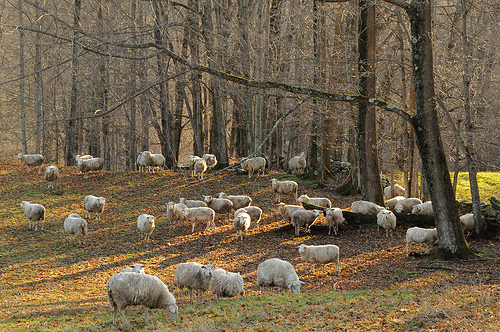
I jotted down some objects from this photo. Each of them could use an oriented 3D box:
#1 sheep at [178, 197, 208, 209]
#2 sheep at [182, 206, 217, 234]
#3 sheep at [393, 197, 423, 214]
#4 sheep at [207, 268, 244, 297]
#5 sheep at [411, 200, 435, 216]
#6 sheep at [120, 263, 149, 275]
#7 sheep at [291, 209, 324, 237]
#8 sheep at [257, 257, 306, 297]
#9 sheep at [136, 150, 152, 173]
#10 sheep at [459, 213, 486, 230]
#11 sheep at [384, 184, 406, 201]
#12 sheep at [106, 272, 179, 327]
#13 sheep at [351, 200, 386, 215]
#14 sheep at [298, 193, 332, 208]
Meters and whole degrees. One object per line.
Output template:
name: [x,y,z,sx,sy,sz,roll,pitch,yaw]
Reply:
sheep: [-3.855,2.663,61.379,1.772,1.026,0.723,6,-2,11]
sheep: [-3.282,3.811,59.819,1.980,1.967,1.593,2,3,11]
sheep: [10.629,2.733,61.225,2.181,1.263,0.833,-3,-9,3]
sheep: [-1.388,6.997,52.884,1.847,1.335,0.664,-3,1,11]
sheep: [11.626,2.901,60.182,1.613,1.115,0.737,-2,-9,3]
sheep: [-6.919,6.144,53.165,1.233,0.778,0.626,0,-4,17]
sheep: [3.638,3.770,59.408,1.727,1.209,0.810,-3,1,2]
sheep: [1.866,6.532,53.889,3.164,2.310,1.481,0,1,36]
sheep: [-8.122,-0.285,69.119,1.070,1.282,2.331,-3,1,-8]
sheep: [13.734,3.632,56.639,0.927,1.151,0.549,-3,1,8]
sheep: [10.820,1.979,67.080,1.472,0.997,0.895,-2,5,-22]
sheep: [-6.136,7.379,51.015,4.732,3.537,2.067,2,-4,-18]
sheep: [7.947,2.866,60.511,2.313,1.279,0.870,5,-1,13]
sheep: [4.306,2.295,61.783,2.410,1.249,0.880,6,-6,33]
